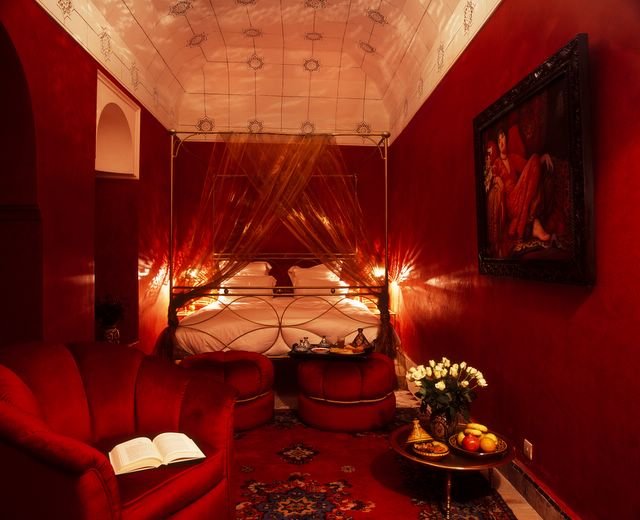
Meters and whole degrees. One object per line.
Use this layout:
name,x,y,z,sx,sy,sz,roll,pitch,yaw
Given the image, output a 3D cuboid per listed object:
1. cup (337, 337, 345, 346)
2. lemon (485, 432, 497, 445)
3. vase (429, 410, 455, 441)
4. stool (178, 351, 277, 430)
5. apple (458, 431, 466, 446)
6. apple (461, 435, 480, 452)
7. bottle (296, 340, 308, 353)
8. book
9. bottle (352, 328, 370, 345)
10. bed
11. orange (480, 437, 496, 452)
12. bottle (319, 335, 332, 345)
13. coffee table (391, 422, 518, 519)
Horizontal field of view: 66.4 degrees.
cup,0.172,0.728,4.348,0.045,0.066,0.051,1,-1,-14
lemon,0.964,1.007,2.757,0.045,0.068,0.046,0,2,-35
vase,0.728,0.999,2.924,0.123,0.182,0.143,2,-14,-4
stool,-0.620,0.912,3.928,0.585,0.478,0.674,0,-6,-1
apple,0.820,1.051,2.841,0.040,0.049,0.045,-1,7,-5
apple,0.847,1.041,2.761,0.073,0.091,0.074,15,-22,-41
bottle,-0.162,0.759,4.252,0.080,0.091,0.086,-1,1,-24
book,-0.828,0.969,2.480,0.464,0.084,0.297,0,5,-24
bottle,0.369,0.718,4.437,0.122,0.172,0.156,1,-7,-1
bed,-0.461,-0.028,6.096,2.399,2.855,2.219,4,-14,-14
orange,0.932,1.039,2.727,0.055,0.074,0.081,0,5,-14
bottle,0.041,0.740,4.401,0.084,0.100,0.093,-4,-6,27
coffee table,0.767,1.218,2.927,0.681,0.479,0.618,3,4,10
